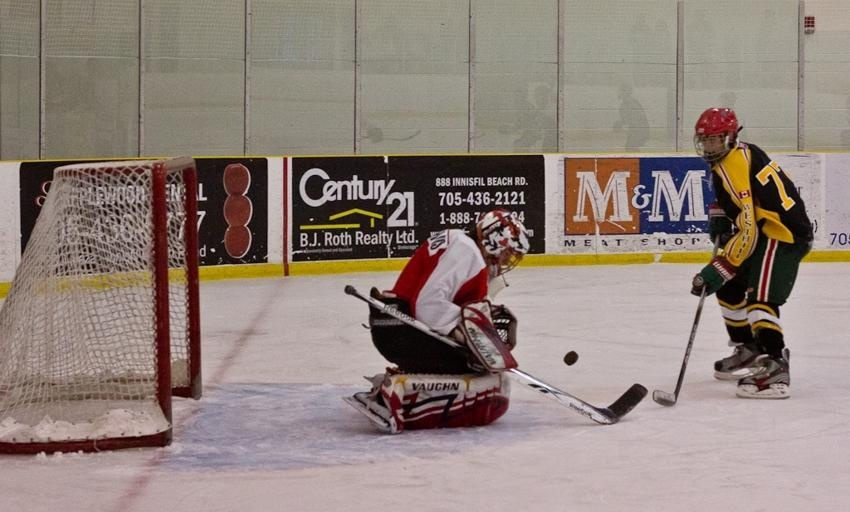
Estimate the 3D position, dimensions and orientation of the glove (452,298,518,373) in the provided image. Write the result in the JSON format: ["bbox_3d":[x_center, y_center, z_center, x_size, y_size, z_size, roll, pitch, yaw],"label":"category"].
[{"bbox_3d":[0.468,0.632,10.766,0.474,0.568,0.164,-1,5,-1],"label":"glove"}]

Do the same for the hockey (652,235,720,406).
[{"bbox_3d":[2.132,0.602,11.424,0.489,1.601,0.515,4,1,23],"label":"hockey"}]

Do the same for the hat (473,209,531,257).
[{"bbox_3d":[0.614,-0.229,10.968,0.439,0.341,0.310,28,19,-10],"label":"hat"}]

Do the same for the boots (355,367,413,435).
[{"bbox_3d":[-0.344,1.162,10.894,0.309,0.488,0.448,-4,5,-31],"label":"boots"}]

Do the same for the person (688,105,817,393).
[{"bbox_3d":[2.784,-0.040,11.579,0.970,2.446,0.649,1,5,20],"label":"person"}]
